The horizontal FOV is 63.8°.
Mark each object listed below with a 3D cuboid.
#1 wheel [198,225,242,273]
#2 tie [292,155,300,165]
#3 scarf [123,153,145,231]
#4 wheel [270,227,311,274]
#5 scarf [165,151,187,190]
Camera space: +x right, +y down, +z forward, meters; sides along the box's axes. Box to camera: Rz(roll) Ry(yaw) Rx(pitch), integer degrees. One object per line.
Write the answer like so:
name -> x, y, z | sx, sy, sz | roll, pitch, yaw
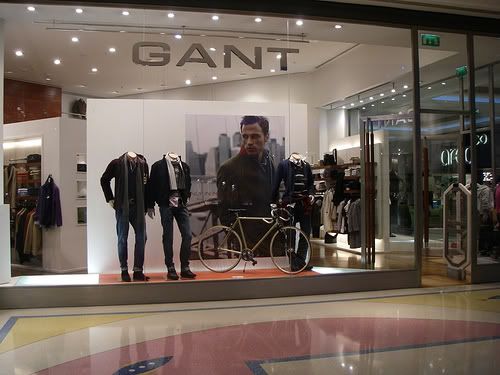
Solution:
wheel -> -0.482, 0.950, 6.275 | 0.622, 0.704, 0.073 | 2, 2, 2
tie -> 0.714, -0.442, 6.341 | 0.128, 0.108, 0.140 | -1, 6, 21
scarf -> -1.741, 0.073, 5.980 | 0.306, 1.150, 0.159 | -2, 4, -17
wheel -> 0.621, 0.977, 6.266 | 0.602, 0.683, 0.096 | 2, -3, 0
scarf -> -1.132, -0.246, 6.129 | 0.314, 0.554, 0.141 | -2, 4, -15
